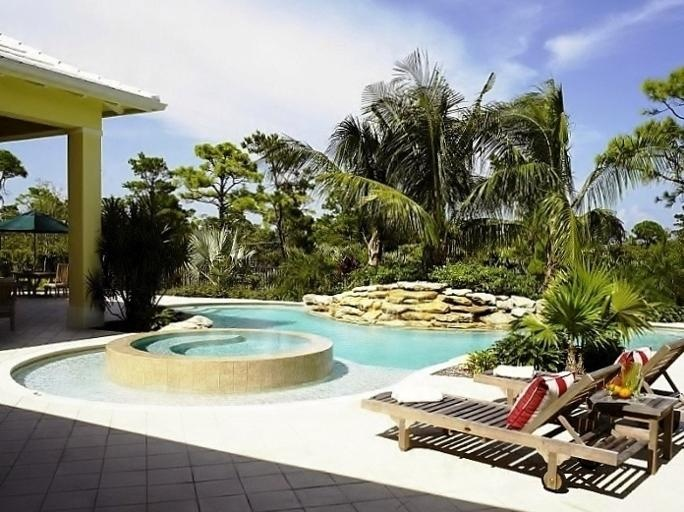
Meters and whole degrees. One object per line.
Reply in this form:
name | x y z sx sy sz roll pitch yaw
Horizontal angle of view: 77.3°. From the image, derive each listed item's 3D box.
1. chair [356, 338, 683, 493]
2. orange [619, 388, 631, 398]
chair | 1.965 1.368 3.979 3.212 0.979 1.684 2 -2 -16
orange | 2.563 1.240 3.889 0.080 0.088 0.080 -8 10 -21
